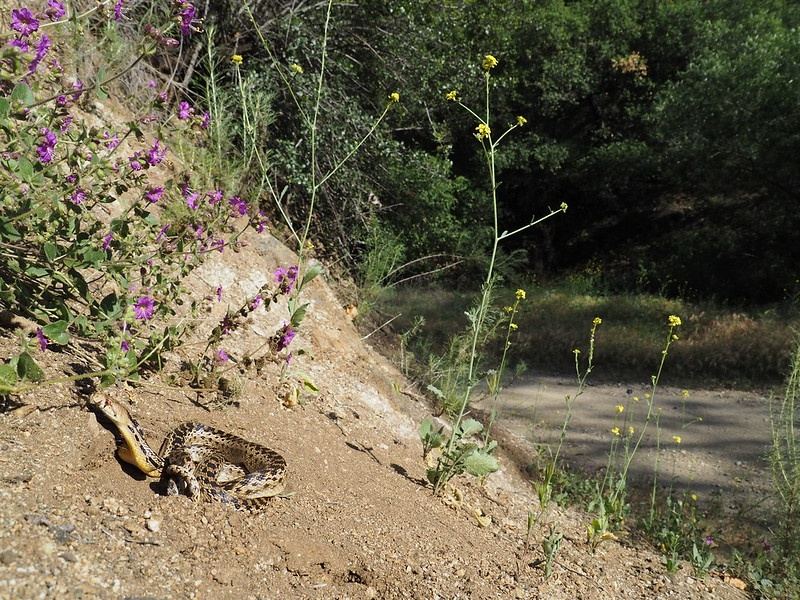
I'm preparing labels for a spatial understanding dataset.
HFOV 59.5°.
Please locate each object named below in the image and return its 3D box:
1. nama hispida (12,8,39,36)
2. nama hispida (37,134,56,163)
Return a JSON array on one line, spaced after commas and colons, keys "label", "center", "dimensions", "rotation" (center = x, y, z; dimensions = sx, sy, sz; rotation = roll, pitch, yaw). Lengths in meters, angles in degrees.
[{"label": "nama hispida", "center": [-2.690, -1.991, 4.969], "dimensions": [0.175, 0.191, 0.230], "rotation": [14, 0, -33]}, {"label": "nama hispida", "center": [-2.745, -1.178, 5.361], "dimensions": [0.100, 0.236, 0.180], "rotation": [12, 15, 18]}]
